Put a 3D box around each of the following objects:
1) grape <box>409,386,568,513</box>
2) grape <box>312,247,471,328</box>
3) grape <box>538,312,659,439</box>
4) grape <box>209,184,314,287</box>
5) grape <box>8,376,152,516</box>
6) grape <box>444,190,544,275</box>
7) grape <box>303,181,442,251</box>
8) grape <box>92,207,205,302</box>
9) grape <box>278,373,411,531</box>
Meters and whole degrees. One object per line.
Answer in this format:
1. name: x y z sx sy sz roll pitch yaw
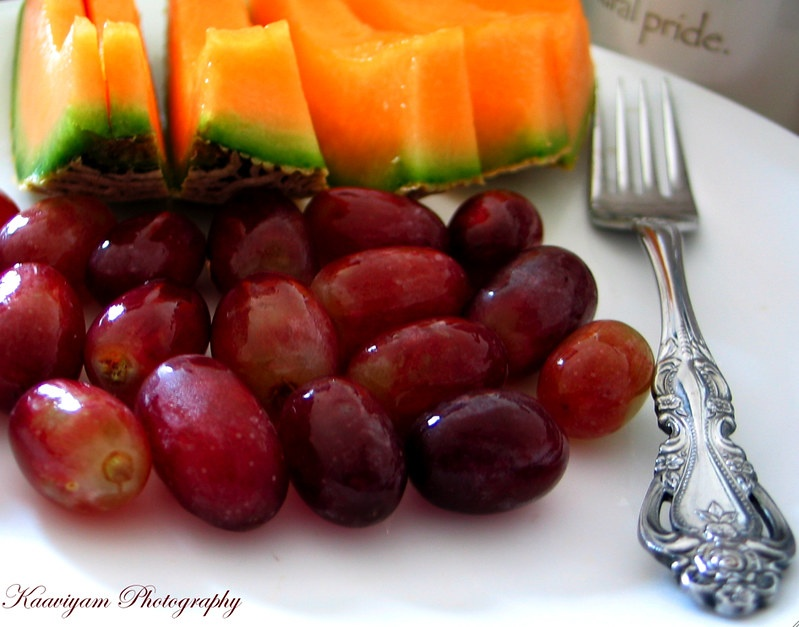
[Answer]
1. grape: 0.063 0.098 0.592 0.085 0.060 0.083 -2 60 -2
2. grape: -0.007 -0.010 0.713 0.123 0.086 0.077 -9 10 -13
3. grape: 0.145 0.051 0.654 0.064 0.091 0.076 32 89 7
4. grape: -0.119 -0.057 0.743 0.064 0.077 0.102 -5 73 -15
5. grape: -0.210 0.077 0.607 0.088 0.080 0.067 29 9 17
6. grape: 0.087 -0.066 0.787 0.079 0.074 0.066 64 18 2
7. grape: -0.022 -0.078 0.732 0.090 0.058 0.062 12 78 -12
8. grape: -0.213 -0.041 0.741 0.076 0.048 0.066 -31 74 -18
9. grape: -0.047 0.081 0.635 0.070 0.070 0.104 -18 75 -46
